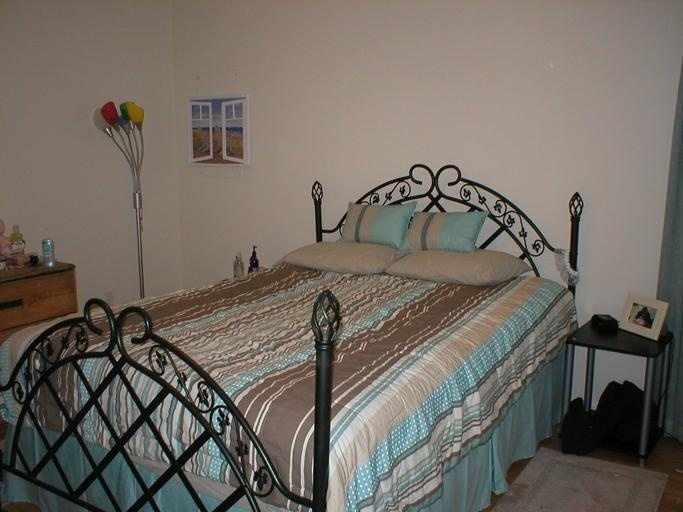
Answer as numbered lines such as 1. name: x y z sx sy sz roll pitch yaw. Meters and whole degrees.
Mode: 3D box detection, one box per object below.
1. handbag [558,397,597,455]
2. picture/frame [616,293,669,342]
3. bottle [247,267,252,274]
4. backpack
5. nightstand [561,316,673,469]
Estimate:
1. handbag: 1.368 0.960 3.056 0.147 0.309 0.089 -4 -33 29
2. picture/frame: 1.792 0.372 3.130 0.023 0.228 0.213 17 1 -29
3. bottle: -0.770 0.120 4.416 0.041 0.057 0.047 1 5 5
4. backpack: 1.620 0.895 3.052 0.277 0.130 0.381 4 14 34
5. nightstand: 1.622 0.735 3.336 0.552 0.971 0.708 7 11 37
